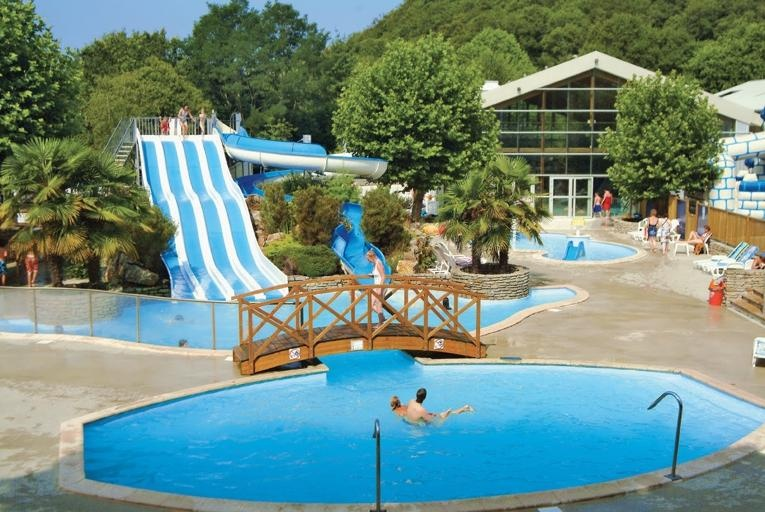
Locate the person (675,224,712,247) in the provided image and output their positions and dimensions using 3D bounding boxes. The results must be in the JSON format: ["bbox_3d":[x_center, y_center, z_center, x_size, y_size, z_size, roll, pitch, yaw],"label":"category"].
[{"bbox_3d":[13.933,-0.822,32.247,1.666,1.201,0.722,10,5,-14],"label":"person"}]

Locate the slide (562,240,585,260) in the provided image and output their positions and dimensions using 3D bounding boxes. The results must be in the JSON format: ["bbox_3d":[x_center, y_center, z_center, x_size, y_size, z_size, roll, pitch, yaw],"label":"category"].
[{"bbox_3d":[8.832,-0.219,33.359,0.513,1.032,2.299,-1,-6,22],"label":"slide"}]

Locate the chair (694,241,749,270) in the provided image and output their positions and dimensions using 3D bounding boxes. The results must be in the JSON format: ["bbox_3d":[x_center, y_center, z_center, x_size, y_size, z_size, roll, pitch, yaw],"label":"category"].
[{"bbox_3d":[13.158,0.112,27.603,1.900,0.937,1.454,-3,4,0],"label":"chair"}]
